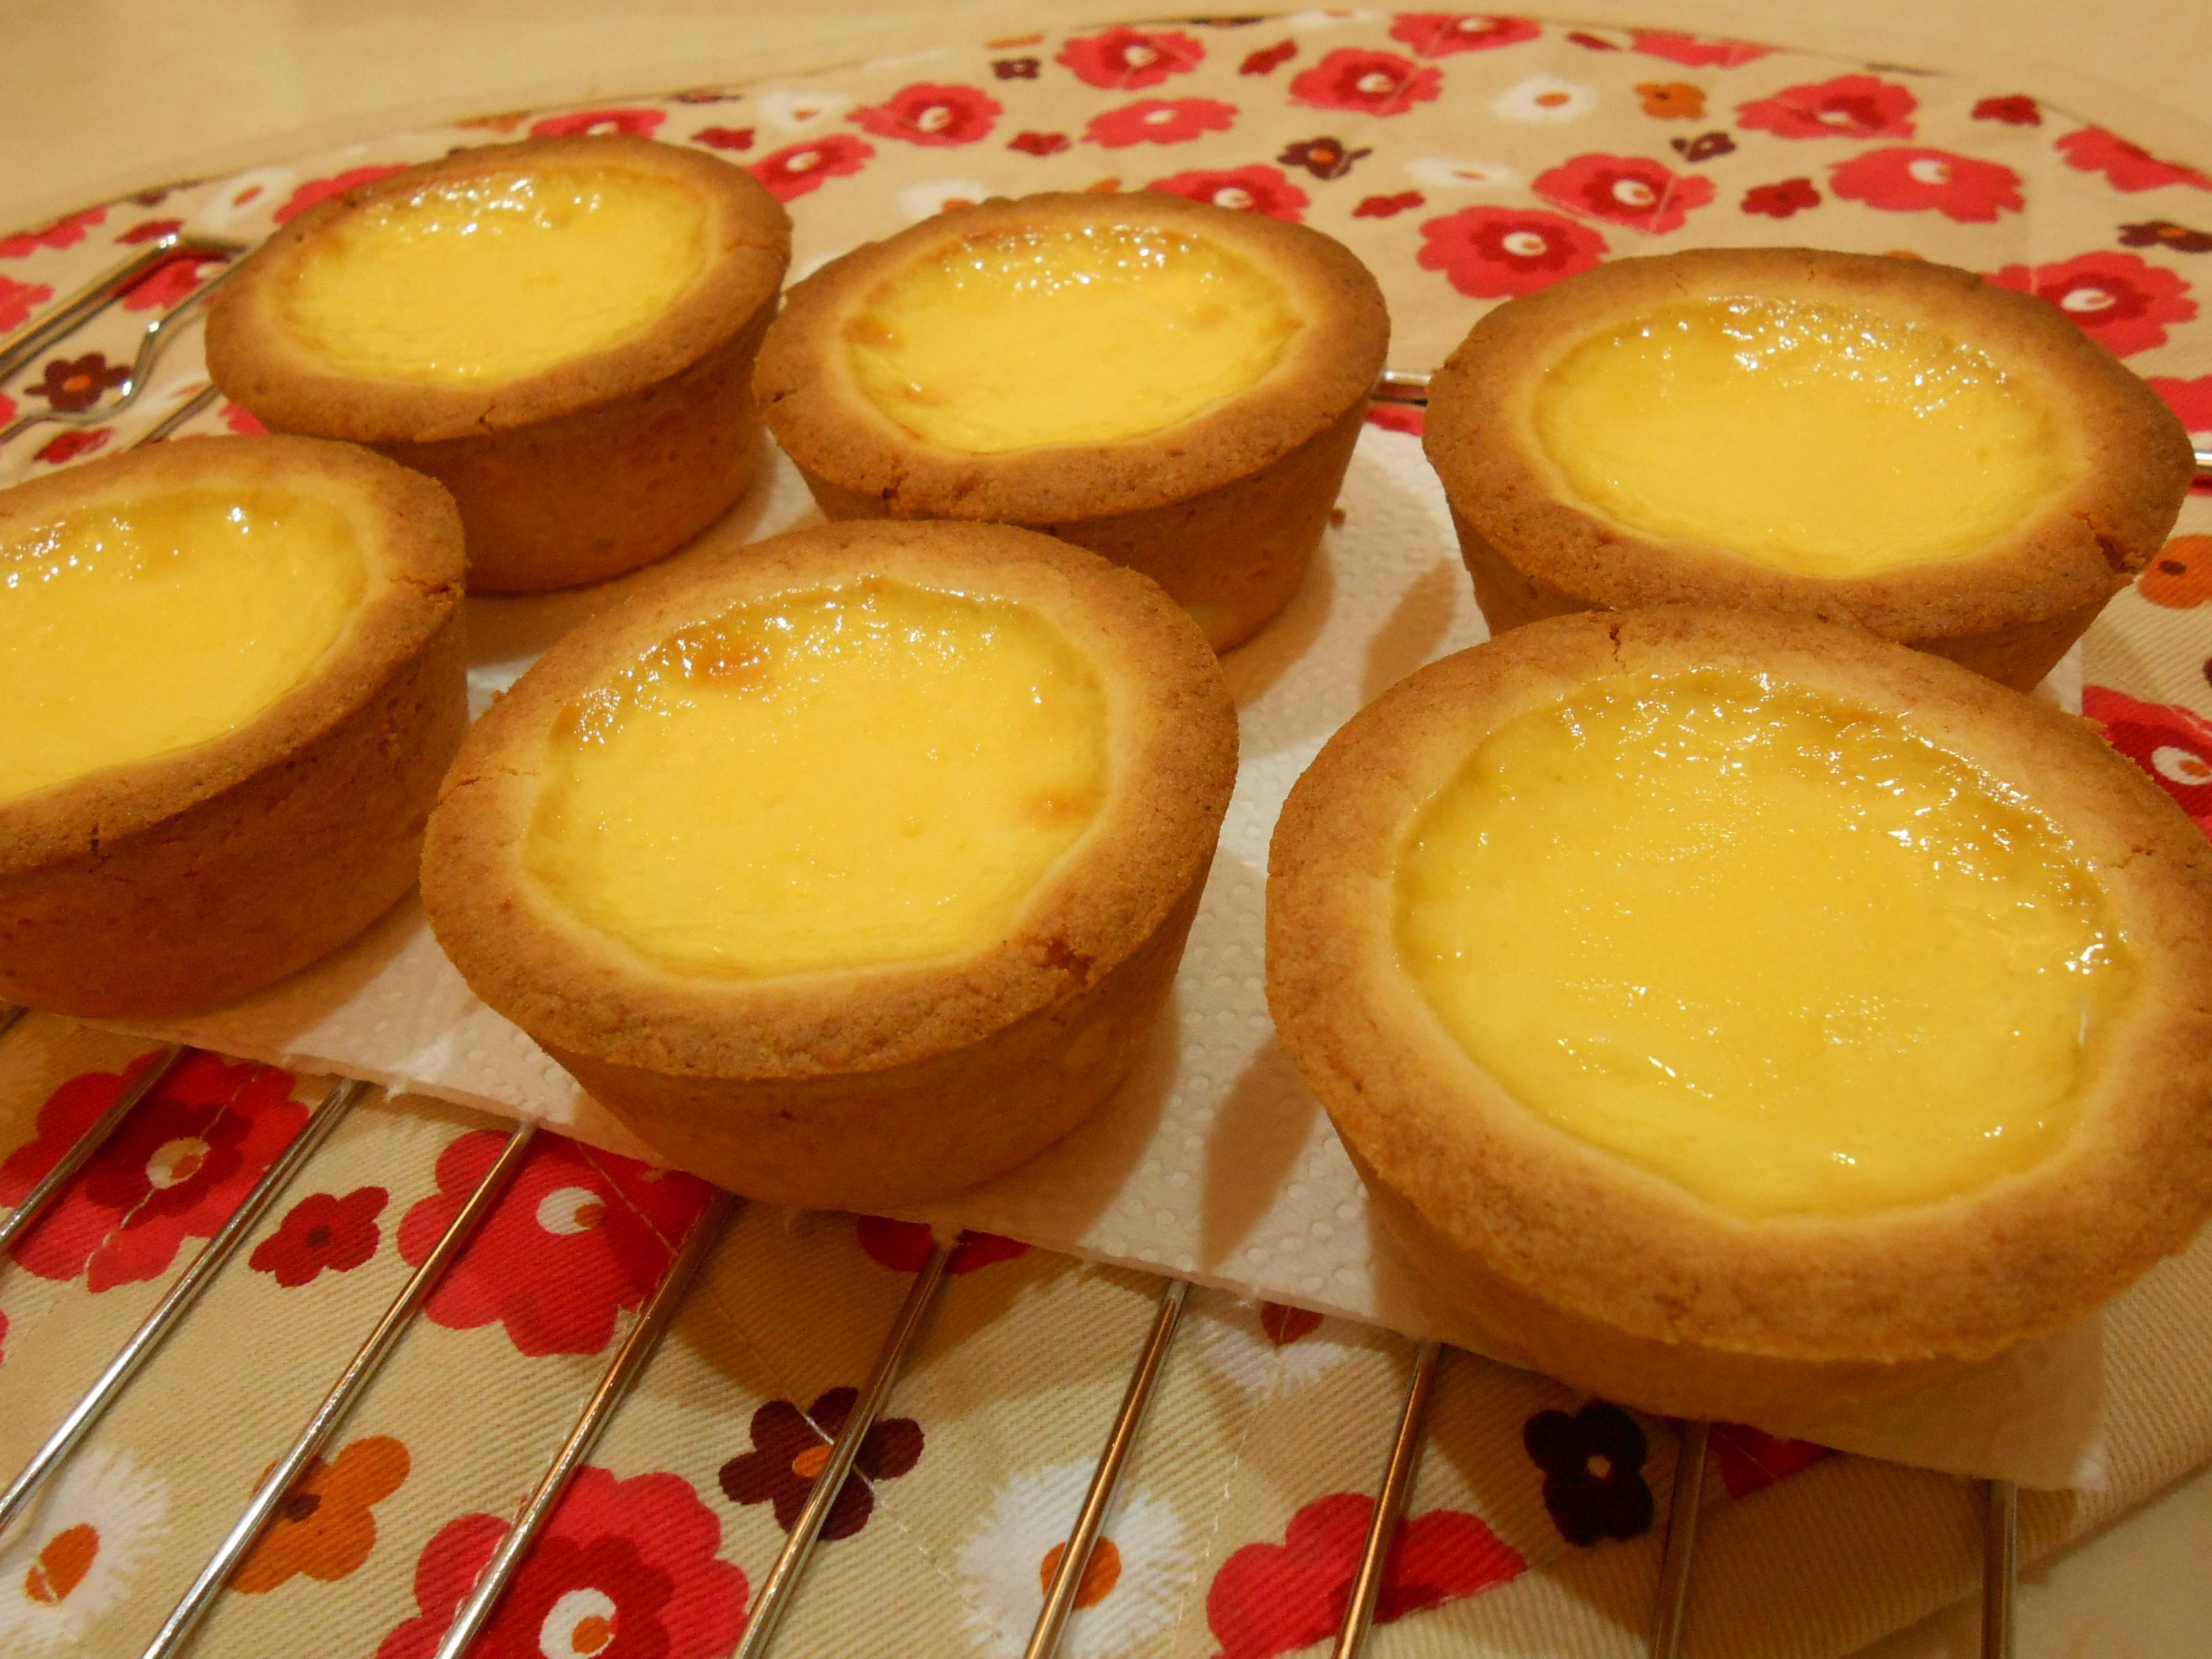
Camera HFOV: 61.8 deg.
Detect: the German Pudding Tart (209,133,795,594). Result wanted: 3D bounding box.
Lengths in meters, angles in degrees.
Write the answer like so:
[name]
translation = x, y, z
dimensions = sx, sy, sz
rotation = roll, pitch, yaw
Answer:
[German Pudding Tart]
translation = -0.533, -0.436, 1.675
dimensions = 0.473, 0.209, 0.479
rotation = -29, 53, -17
